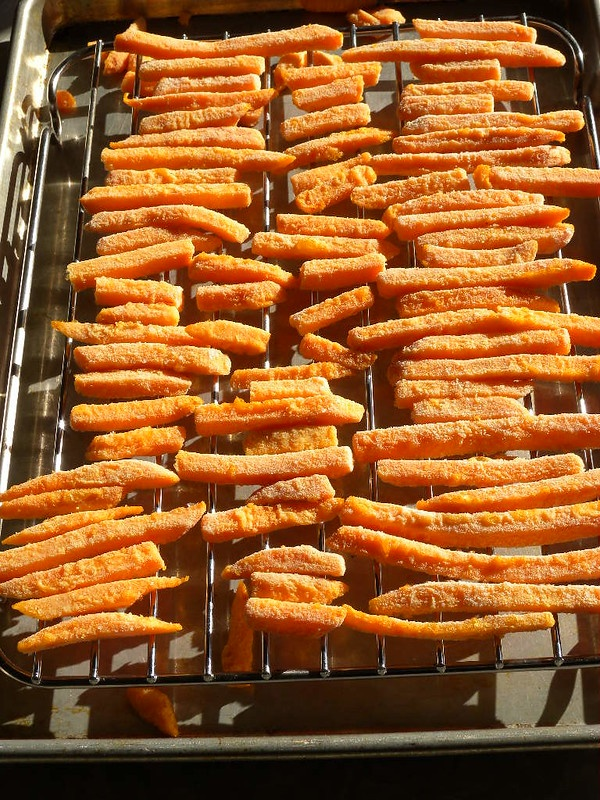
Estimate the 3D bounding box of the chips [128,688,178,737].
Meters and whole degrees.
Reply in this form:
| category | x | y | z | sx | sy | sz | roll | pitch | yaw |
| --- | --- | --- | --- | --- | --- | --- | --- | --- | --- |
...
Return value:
| category | x | y | z | sx | sy | sz | roll | pitch | yaw |
| --- | --- | --- | --- | --- | --- | --- | --- | --- | --- |
| chips | -0.352 | 0.760 | 2.066 | 0.145 | 0.097 | 0.074 | 19 | 32 | 38 |

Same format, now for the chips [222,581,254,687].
| category | x | y | z | sx | sy | sz | roll | pitch | yaw |
| --- | --- | --- | --- | --- | --- | --- | --- | --- | --- |
| chips | -0.147 | 0.578 | 2.045 | 0.090 | 0.209 | 0.051 | 0 | -4 | 27 |
